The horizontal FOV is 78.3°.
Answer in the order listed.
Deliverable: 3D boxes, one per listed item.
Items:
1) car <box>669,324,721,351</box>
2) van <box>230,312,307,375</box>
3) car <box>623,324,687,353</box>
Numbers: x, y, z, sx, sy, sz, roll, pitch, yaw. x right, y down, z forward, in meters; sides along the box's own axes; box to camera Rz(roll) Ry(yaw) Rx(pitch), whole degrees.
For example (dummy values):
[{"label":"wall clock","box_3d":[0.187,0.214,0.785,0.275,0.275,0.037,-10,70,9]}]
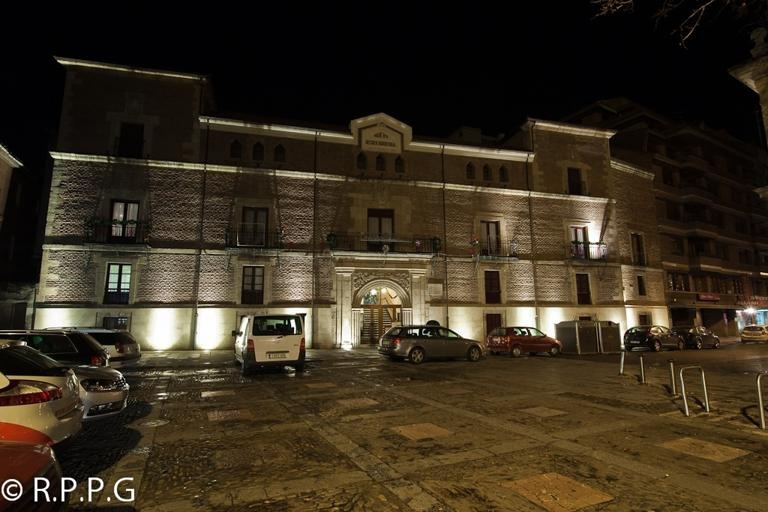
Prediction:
[{"label":"car","box_3d":[21.189,5.616,31.641,4.439,1.036,1.724,1,-4,-19]},{"label":"van","box_3d":[-4.603,3.266,18.623,2.221,1.217,3.146,2,-3,-23]},{"label":"car","box_3d":[16.477,5.215,28.810,3.544,1.599,1.080,0,1,-18]}]
